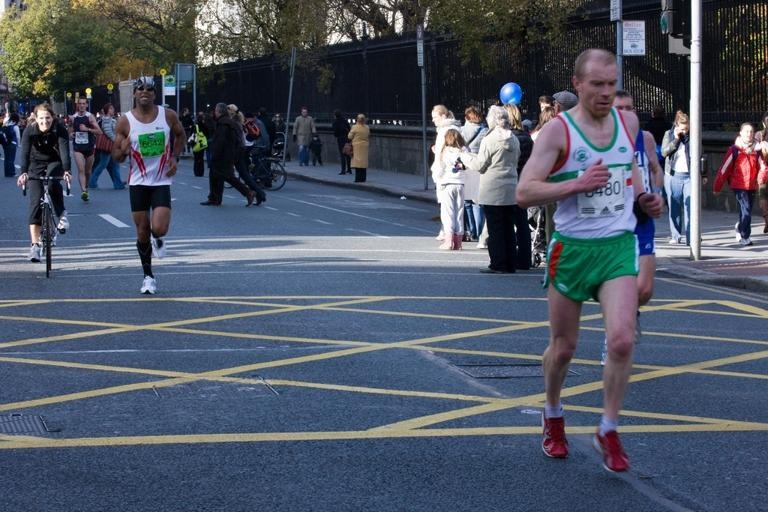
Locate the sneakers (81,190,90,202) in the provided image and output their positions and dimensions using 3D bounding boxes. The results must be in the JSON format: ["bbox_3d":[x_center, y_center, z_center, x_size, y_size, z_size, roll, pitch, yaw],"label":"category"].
[{"bbox_3d":[-7.508,-1.494,21.957,0.108,0.150,0.306,4,-37,-2],"label":"sneakers"}]

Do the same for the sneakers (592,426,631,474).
[{"bbox_3d":[1.528,1.270,5.871,0.133,0.148,0.340,-11,42,-14],"label":"sneakers"}]

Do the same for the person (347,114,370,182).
[{"bbox_3d":[-0.866,-3.495,28.481,0.597,2.100,1.451,0,7,-3],"label":"person"}]

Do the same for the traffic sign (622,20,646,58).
[{"bbox_3d":[4.231,-3.701,14.964,0.395,0.581,0.048,5,27,24],"label":"traffic sign"}]

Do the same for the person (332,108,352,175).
[{"bbox_3d":[-1.760,-4.205,32.696,0.712,2.432,0.792,-8,8,-20],"label":"person"}]

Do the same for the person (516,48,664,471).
[{"bbox_3d":[1.318,0.002,5.924,0.731,2.732,0.522,2,6,15],"label":"person"}]

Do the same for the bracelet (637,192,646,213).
[{"bbox_3d":[1.811,-0.385,6.207,0.048,0.141,0.103,8,13,32],"label":"bracelet"}]

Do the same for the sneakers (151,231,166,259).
[{"bbox_3d":[-2.984,-0.140,11.538,0.121,0.360,0.132,-14,8,-33],"label":"sneakers"}]

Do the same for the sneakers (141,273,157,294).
[{"bbox_3d":[-3.024,0.358,11.213,0.127,0.144,0.320,0,3,-7],"label":"sneakers"}]

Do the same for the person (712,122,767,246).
[{"bbox_3d":[6.334,-1.318,15.646,0.758,2.058,0.987,3,7,29],"label":"person"}]

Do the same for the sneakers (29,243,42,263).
[{"bbox_3d":[-5.336,-0.060,13.374,0.124,0.187,0.395,0,10,-9],"label":"sneakers"}]

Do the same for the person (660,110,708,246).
[{"bbox_3d":[5.062,-1.335,15.330,0.494,2.316,1.402,2,7,17],"label":"person"}]

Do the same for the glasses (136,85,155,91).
[{"bbox_3d":[-2.928,-2.045,10.707,0.109,0.054,0.127,0,-8,-7],"label":"glasses"}]

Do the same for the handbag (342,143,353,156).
[{"bbox_3d":[-1.266,-3.505,28.408,0.301,0.427,0.386,7,-10,7],"label":"handbag"}]

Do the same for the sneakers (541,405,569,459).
[{"bbox_3d":[1.160,1.212,6.052,0.122,0.155,0.385,-3,47,2],"label":"sneakers"}]
